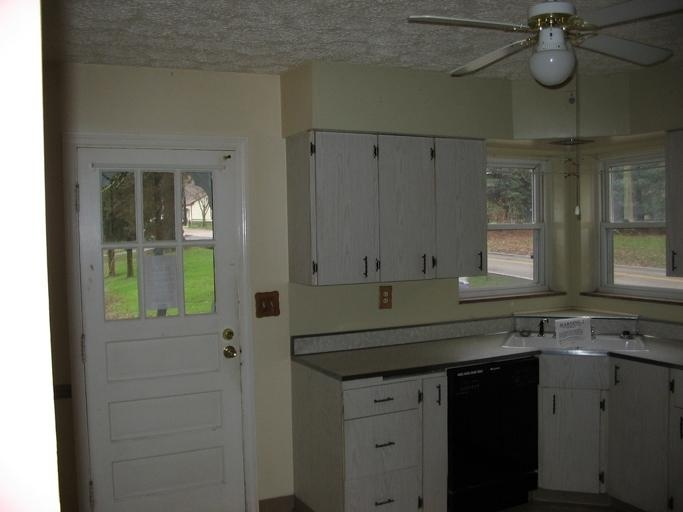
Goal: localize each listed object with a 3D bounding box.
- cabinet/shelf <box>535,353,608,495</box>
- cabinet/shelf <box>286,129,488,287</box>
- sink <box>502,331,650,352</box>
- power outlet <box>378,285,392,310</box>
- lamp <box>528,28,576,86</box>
[{"bbox_3d":[1.398,1.001,3.581,0.391,0.791,0.222,0,-14,14],"label":"cabinet/shelf"},{"bbox_3d":[0.233,-0.308,3.602,0.931,0.681,0.341,-2,3,-20],"label":"cabinet/shelf"},{"bbox_3d":[1.503,0.556,3.846,0.908,0.158,0.508,1,-14,12],"label":"sink"},{"bbox_3d":[0.291,0.265,3.878,0.114,0.152,0.038,11,-16,-30],"label":"power outlet"},{"bbox_3d":[0.789,-0.767,2.298,0.164,0.239,0.173,0,4,5],"label":"lamp"}]
